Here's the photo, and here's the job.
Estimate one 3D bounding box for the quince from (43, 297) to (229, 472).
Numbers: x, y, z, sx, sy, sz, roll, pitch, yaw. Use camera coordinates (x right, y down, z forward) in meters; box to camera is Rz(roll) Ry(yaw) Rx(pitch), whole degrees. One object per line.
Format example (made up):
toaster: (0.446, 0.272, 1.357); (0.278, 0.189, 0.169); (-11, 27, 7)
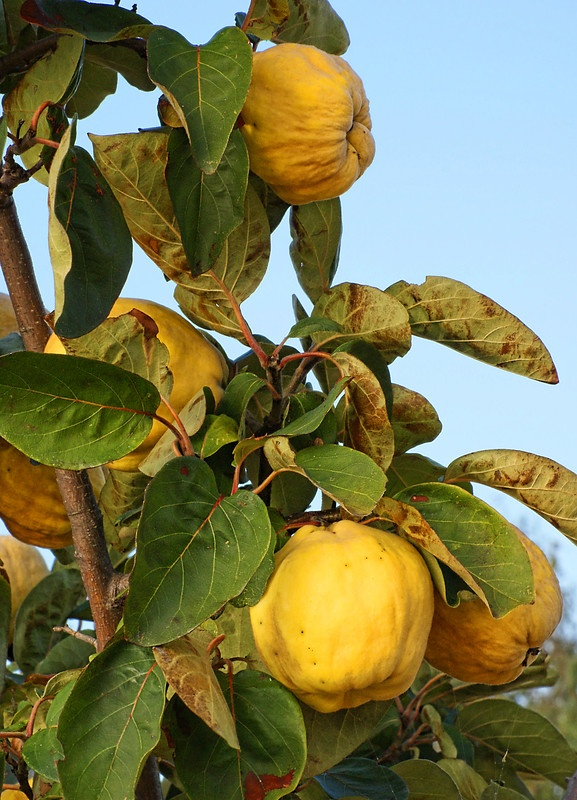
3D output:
quince: (-0.275, -0.026, 2.298); (0.313, 0.251, 0.230); (20, -40, -37)

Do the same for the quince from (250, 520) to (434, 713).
quince: (0.073, 0.308, 2.049); (0.246, 0.285, 0.258); (15, -24, -32)

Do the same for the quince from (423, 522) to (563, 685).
quince: (0.338, 0.367, 2.259); (0.193, 0.266, 0.192); (-23, 19, -31)
